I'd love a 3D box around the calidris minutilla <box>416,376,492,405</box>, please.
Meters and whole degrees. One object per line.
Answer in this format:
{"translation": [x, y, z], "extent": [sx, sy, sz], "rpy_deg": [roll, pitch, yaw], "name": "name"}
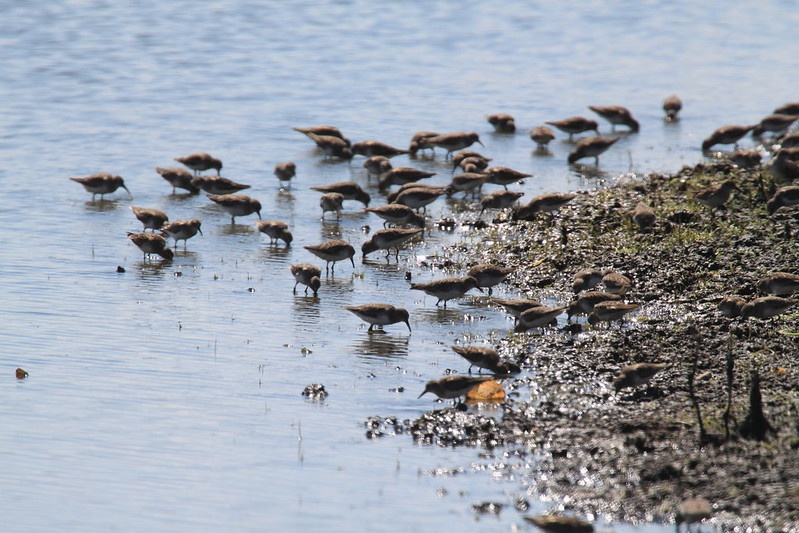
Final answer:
{"translation": [1.389, 3.145, 27.816], "extent": [1.853, 1.125, 0.612], "rpy_deg": [-18, 70, -4], "name": "calidris minutilla"}
